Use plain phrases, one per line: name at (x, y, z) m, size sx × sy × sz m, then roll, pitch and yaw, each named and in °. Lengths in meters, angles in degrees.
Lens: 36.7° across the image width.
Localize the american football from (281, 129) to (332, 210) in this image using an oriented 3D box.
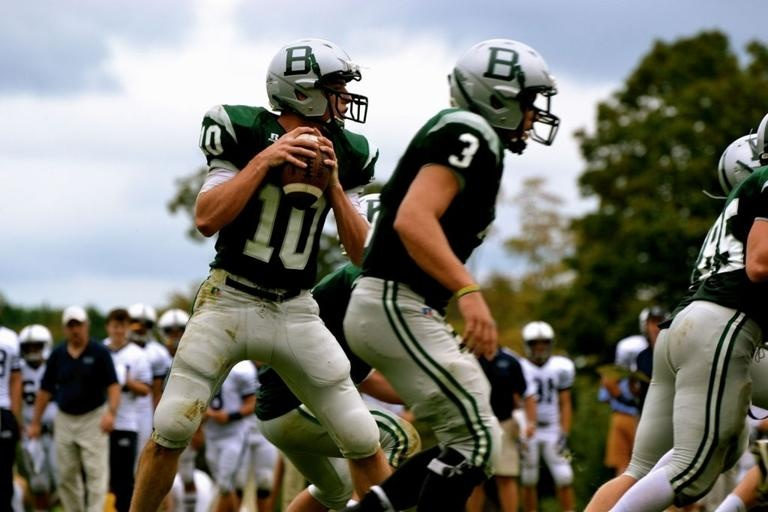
american football at (-0.540, -0.627, 8.439) m, size 0.344 × 0.510 × 0.323 m, roll 6°, pitch -10°, yaw 19°

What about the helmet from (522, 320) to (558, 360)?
helmet at (1.853, 1.045, 14.268) m, size 0.358 × 0.445 × 0.453 m, roll -1°, pitch 1°, yaw 0°

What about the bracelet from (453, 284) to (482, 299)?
bracelet at (0.546, 0.241, 7.700) m, size 0.163 × 0.104 × 0.134 m, roll 1°, pitch -5°, yaw 3°

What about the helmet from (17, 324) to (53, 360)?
helmet at (-3.741, 0.937, 12.587) m, size 0.343 × 0.391 × 0.413 m, roll 4°, pitch -15°, yaw -31°

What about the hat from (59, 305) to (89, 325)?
hat at (-3.217, 0.632, 12.065) m, size 0.242 × 0.194 × 0.304 m, roll 3°, pitch -5°, yaw -10°
